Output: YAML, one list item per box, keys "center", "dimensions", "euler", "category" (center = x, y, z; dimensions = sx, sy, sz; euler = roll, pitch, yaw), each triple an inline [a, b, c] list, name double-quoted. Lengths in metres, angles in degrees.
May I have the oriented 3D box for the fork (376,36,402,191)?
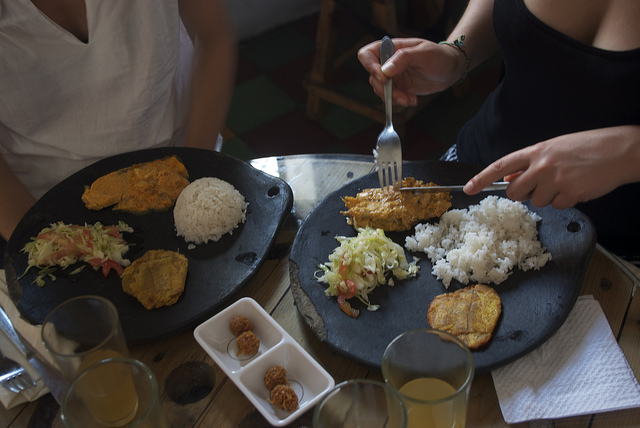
- center: [0.277, -0.350, 1.997]
  dimensions: [0.089, 0.061, 0.749]
  euler: [1, 78, 4]
  category: "fork"
